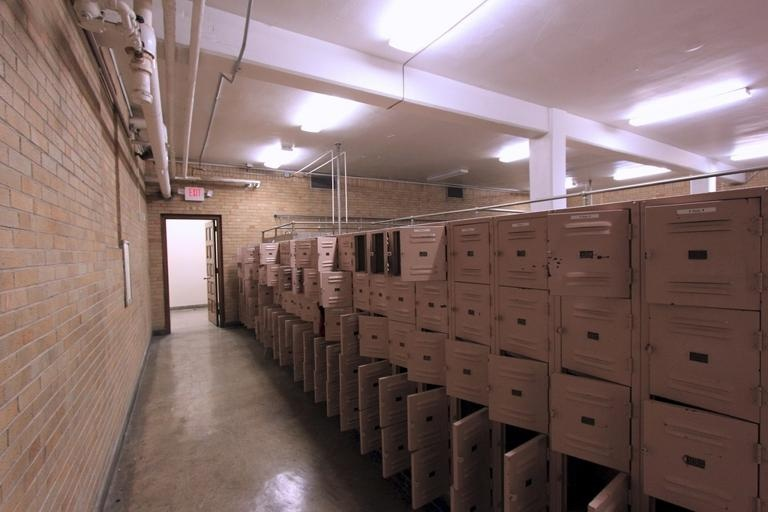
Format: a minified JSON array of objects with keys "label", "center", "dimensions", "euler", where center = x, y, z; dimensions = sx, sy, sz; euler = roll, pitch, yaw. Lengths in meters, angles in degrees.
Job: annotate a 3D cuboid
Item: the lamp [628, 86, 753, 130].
[{"label":"lamp","center":[2.981,-1.478,4.986],"dimensions":[0.308,0.176,1.350],"euler":[-3,7,-8]}]
